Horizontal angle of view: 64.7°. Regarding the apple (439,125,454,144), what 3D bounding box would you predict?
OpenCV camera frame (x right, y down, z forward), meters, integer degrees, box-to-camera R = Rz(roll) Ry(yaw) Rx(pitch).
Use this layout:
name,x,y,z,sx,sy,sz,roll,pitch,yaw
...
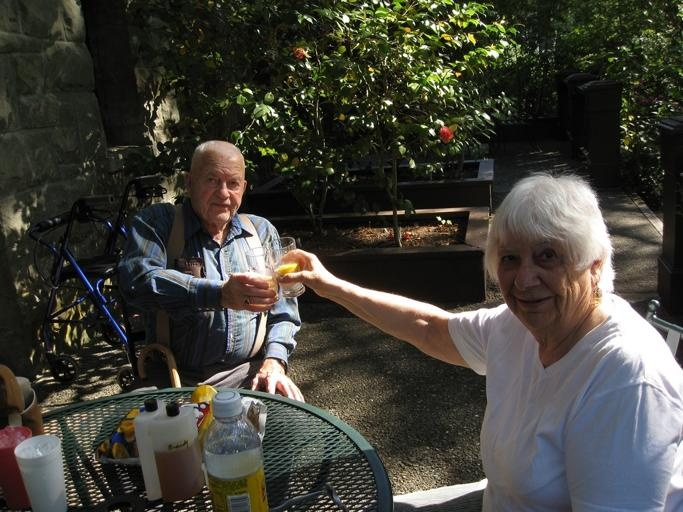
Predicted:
name,x,y,z,sx,sy,sz,roll,pitch,yaw
apple,1.113,-1.289,5.771,0.106,0.183,0.181,-9,26,43

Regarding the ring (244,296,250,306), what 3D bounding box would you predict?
name,x,y,z,sx,sy,sz,roll,pitch,yaw
ring,-0.463,0.225,2.652,0.023,0.039,0.035,-2,12,-7

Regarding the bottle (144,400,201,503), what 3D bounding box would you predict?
name,x,y,z,sx,sy,sz,roll,pitch,yaw
bottle,-0.535,0.638,1.752,0.155,0.391,0.153,-3,9,1

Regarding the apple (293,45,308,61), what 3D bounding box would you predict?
name,x,y,z,sx,sy,sz,roll,pitch,yaw
apple,-0.410,-1.990,5.351,0.175,0.137,0.093,18,62,47

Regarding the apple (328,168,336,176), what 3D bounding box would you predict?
name,x,y,z,sx,sy,sz,roll,pitch,yaw
apple,-0.104,-0.910,5.896,0.088,0.070,0.103,5,14,16

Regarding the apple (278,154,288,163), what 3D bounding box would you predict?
name,x,y,z,sx,sy,sz,roll,pitch,yaw
apple,-0.650,-1.082,6.036,0.074,0.026,0.082,-2,-34,-5
